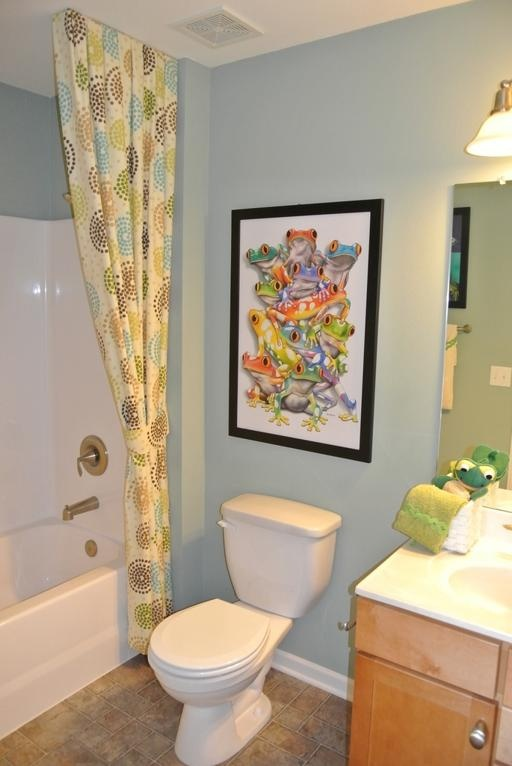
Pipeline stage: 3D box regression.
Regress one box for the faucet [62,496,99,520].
[{"bbox_3d":[-0.792,0.552,2.587,0.087,0.084,0.159,10,18,39],"label":"faucet"}]
